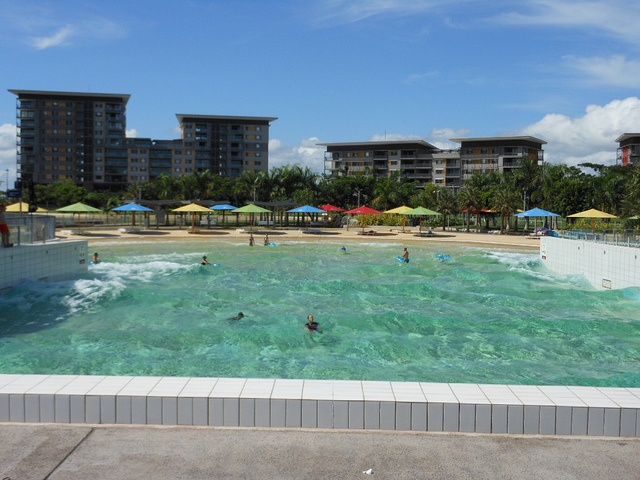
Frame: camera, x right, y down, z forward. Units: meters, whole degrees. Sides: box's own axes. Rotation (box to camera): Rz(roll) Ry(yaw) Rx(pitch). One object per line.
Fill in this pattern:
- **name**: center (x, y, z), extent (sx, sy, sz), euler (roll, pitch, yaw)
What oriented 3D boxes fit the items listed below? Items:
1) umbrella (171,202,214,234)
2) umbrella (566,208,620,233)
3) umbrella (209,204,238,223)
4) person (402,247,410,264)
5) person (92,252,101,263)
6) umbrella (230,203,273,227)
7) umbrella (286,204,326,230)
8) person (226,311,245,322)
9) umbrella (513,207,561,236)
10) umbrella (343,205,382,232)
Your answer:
- **umbrella**: center (-13.308, -1.829, 55.784), extent (4.874, 2.708, 3.891), euler (2, 10, 4)
- **umbrella**: center (23.364, -1.736, 45.683), extent (3.301, 1.679, 2.785), euler (-3, 9, -4)
- **umbrella**: center (-10.707, -2.994, 59.264), extent (2.573, 1.820, 2.424), euler (-8, 19, -31)
- **person**: center (5.038, 0.889, 31.398), extent (0.418, 0.879, 1.222), euler (3, 9, 8)
- **person**: center (-11.609, 0.908, 27.660), extent (0.392, 0.575, 1.104), euler (-2, 10, -22)
- **umbrella**: center (-7.089, -2.111, 54.706), extent (3.667, 1.962, 3.214), euler (0, 13, 1)
- **umbrella**: center (-1.556, -2.206, 57.846), extent (3.886, 2.090, 3.455), euler (-3, 11, -12)
- **person**: center (-2.757, 2.490, 17.485), extent (0.525, 0.139, 0.810), euler (1, 9, -3)
- **umbrella**: center (20.390, -1.600, 49.811), extent (3.745, 2.001, 3.360), euler (1, 3, 0)
- **umbrella**: center (4.255, -2.134, 58.436), extent (3.560, 2.085, 3.650), euler (11, 16, 36)
